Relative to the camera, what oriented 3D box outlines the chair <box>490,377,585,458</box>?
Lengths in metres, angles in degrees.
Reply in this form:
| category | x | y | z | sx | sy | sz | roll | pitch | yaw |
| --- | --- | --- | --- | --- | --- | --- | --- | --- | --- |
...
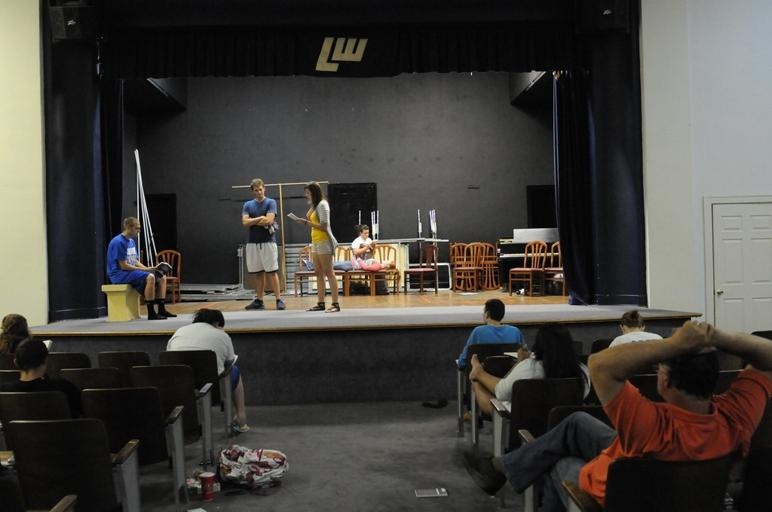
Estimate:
| category | x | y | z | sx | sy | sz | roll | pitch | yaw |
| --- | --- | --- | --- | --- | --- | --- | --- | --- | --- |
| chair | 1.197 | 1.406 | 5.208 | 0.630 | 0.885 | 0.690 | -3 | -8 | 4 |

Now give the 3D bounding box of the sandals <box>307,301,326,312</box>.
| category | x | y | z | sx | sy | sz | roll | pitch | yaw |
| --- | --- | --- | --- | --- | --- | --- | --- | --- | --- |
| sandals | -0.955 | 0.674 | 8.673 | 0.287 | 0.130 | 0.102 | 1 | 3 | 9 |

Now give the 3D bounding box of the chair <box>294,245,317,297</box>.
| category | x | y | z | sx | sy | sz | roll | pitch | yaw |
| --- | --- | --- | --- | --- | --- | --- | --- | --- | --- |
| chair | -1.462 | 0.248 | 12.052 | 0.495 | 0.878 | 0.537 | -1 | 3 | -6 |

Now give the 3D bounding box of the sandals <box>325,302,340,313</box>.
| category | x | y | z | sx | sy | sz | roll | pitch | yaw |
| --- | --- | --- | --- | --- | --- | --- | --- | --- | --- |
| sandals | -0.745 | 0.675 | 8.530 | 0.256 | 0.109 | 0.088 | 1 | 0 | 6 |

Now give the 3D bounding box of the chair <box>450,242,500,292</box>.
| category | x | y | z | sx | sy | sz | roll | pitch | yaw |
| --- | --- | --- | --- | --- | --- | --- | --- | --- | --- |
| chair | 1.860 | 0.203 | 13.483 | 0.958 | 1.634 | 1.003 | 0 | -7 | 3 |

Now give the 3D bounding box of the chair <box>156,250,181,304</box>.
| category | x | y | z | sx | sy | sz | roll | pitch | yaw |
| --- | --- | --- | --- | --- | --- | --- | --- | --- | --- |
| chair | -4.087 | 0.339 | 12.036 | 0.427 | 0.969 | 0.411 | -1 | -1 | -12 |

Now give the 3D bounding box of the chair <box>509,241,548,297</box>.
| category | x | y | z | sx | sy | sz | roll | pitch | yaw |
| --- | --- | --- | --- | --- | --- | --- | --- | --- | --- |
| chair | 2.641 | 0.219 | 12.004 | 0.673 | 0.971 | 1.458 | -4 | 2 | 14 |

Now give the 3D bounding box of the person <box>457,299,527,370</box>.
| category | x | y | z | sx | sy | sz | roll | pitch | yaw |
| --- | --- | --- | --- | --- | --- | --- | --- | --- | --- |
| person | 1.041 | 0.741 | 6.346 | 0.712 | 0.672 | 0.393 | -1 | 4 | -8 |

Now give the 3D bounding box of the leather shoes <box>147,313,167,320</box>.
| category | x | y | z | sx | sy | sz | roll | pitch | yaw |
| --- | --- | --- | --- | --- | --- | --- | --- | --- | --- |
| leather shoes | -2.958 | 0.758 | 8.327 | 0.287 | 0.119 | 0.090 | -2 | 2 | -19 |

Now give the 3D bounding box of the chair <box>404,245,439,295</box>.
| category | x | y | z | sx | sy | sz | roll | pitch | yaw |
| --- | --- | --- | --- | --- | --- | --- | --- | --- | --- |
| chair | 0.667 | 0.222 | 12.449 | 0.592 | 0.952 | 0.627 | 0 | 1 | 19 |

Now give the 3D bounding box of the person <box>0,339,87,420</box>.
| category | x | y | z | sx | sy | sz | roll | pitch | yaw |
| --- | --- | --- | --- | --- | --- | --- | --- | --- | --- |
| person | -2.690 | 0.924 | 4.953 | 0.692 | 0.606 | 0.338 | -5 | 2 | -8 |

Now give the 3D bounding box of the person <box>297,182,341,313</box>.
| category | x | y | z | sx | sy | sz | roll | pitch | yaw |
| --- | --- | --- | --- | --- | --- | --- | --- | --- | --- |
| person | -0.899 | -0.145 | 8.677 | 0.457 | 1.387 | 1.011 | -4 | 2 | -4 |

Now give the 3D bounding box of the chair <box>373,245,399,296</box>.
| category | x | y | z | sx | sy | sz | roll | pitch | yaw |
| --- | --- | --- | --- | --- | --- | --- | --- | --- | --- |
| chair | -0.026 | 0.247 | 12.173 | 0.510 | 0.932 | 0.586 | -2 | -1 | 2 |

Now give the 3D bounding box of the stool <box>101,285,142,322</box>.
| category | x | y | z | sx | sy | sz | roll | pitch | yaw |
| --- | --- | --- | --- | --- | --- | --- | --- | --- | --- |
| stool | -3.363 | 0.583 | 8.214 | 0.422 | 0.478 | 0.402 | -5 | 2 | -24 |

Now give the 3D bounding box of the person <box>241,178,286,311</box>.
| category | x | y | z | sx | sy | sz | roll | pitch | yaw |
| --- | --- | --- | --- | --- | --- | --- | --- | --- | --- |
| person | -1.786 | -0.163 | 9.130 | 0.554 | 1.579 | 0.868 | -5 | 2 | -13 |

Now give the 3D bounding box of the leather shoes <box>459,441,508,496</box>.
| category | x | y | z | sx | sy | sz | roll | pitch | yaw |
| --- | --- | --- | --- | --- | --- | --- | --- | --- | --- |
| leather shoes | 0.765 | 1.652 | 5.110 | 0.177 | 0.235 | 0.518 | 40 | 5 | -34 |

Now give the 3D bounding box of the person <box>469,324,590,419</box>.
| category | x | y | z | sx | sy | sz | roll | pitch | yaw |
| --- | --- | --- | --- | --- | --- | --- | --- | --- | --- |
| person | 1.261 | 0.826 | 5.190 | 0.857 | 0.744 | 0.713 | -6 | -13 | -28 |

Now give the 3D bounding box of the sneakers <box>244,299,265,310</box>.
| category | x | y | z | sx | sy | sz | roll | pitch | yaw |
| --- | --- | --- | --- | --- | --- | --- | --- | --- | --- |
| sneakers | -1.883 | 0.674 | 9.183 | 0.269 | 0.163 | 0.127 | 2 | -1 | 2 |

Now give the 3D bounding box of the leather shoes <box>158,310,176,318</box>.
| category | x | y | z | sx | sy | sz | roll | pitch | yaw |
| --- | --- | --- | --- | --- | --- | --- | --- | --- | --- |
| leather shoes | -2.869 | 0.754 | 8.473 | 0.229 | 0.097 | 0.079 | 0 | 5 | -20 |
